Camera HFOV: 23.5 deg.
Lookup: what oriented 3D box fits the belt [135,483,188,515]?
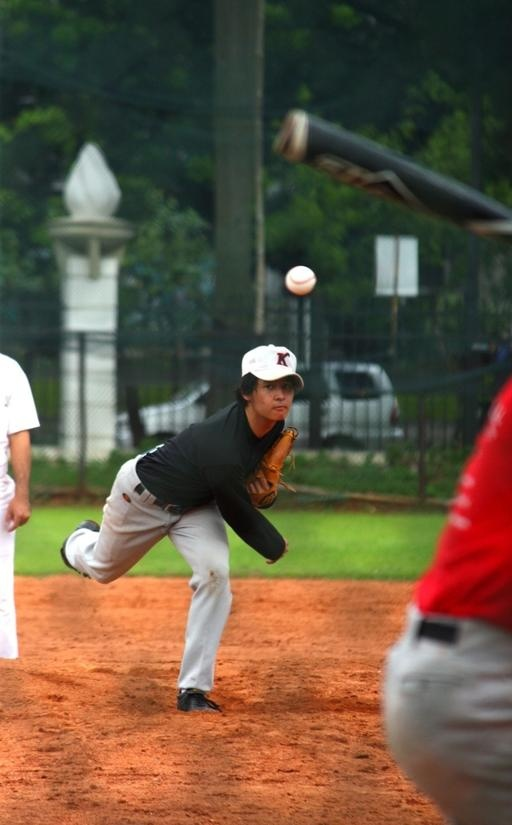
[{"bbox_3d":[-0.329,0.291,4.369,0.129,0.031,0.121,35,-9,41],"label":"belt"}]

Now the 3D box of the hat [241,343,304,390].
[{"bbox_3d":[0.049,-0.168,4.291,0.200,0.129,0.227,2,0,1],"label":"hat"}]

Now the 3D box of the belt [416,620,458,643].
[{"bbox_3d":[0.310,0.381,2.135,0.059,0.043,0.014,13,2,17],"label":"belt"}]

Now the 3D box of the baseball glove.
[{"bbox_3d":[0.051,0.212,4.415,0.122,0.289,0.170,29,-3,5],"label":"baseball glove"}]

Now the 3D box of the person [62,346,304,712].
[{"bbox_3d":[-0.254,0.408,4.458,0.882,1.136,0.410,2,0,43],"label":"person"}]

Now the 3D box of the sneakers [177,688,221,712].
[{"bbox_3d":[-0.207,1.010,4.337,0.155,0.066,0.068,2,0,24],"label":"sneakers"}]
